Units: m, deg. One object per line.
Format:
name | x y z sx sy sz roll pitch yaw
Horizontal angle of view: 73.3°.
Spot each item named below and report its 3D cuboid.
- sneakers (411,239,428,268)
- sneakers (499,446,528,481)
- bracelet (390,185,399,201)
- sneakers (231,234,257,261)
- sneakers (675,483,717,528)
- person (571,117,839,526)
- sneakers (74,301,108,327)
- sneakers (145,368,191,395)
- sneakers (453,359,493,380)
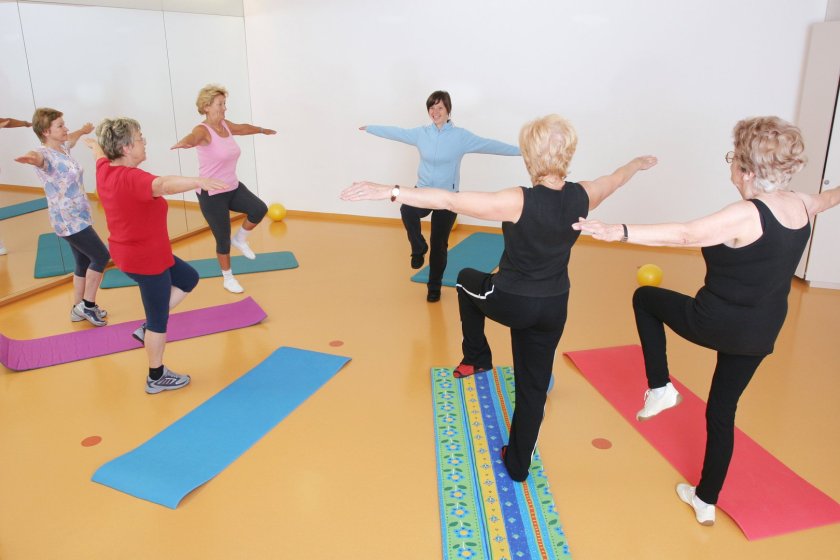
sneakers | -0.012 -0.271 6.038 0.126 0.307 0.135 20 16 20
sneakers | 0.613 1.225 3.846 0.102 0.113 0.289 -9 20 -23
bracelet | -0.164 -0.507 3.297 0.055 0.086 0.081 18 25 -11
sneakers | -2.103 -0.375 6.698 0.326 0.222 0.124 39 59 -1
sneakers | 1.742 1.412 3.612 0.113 0.125 0.302 -9 25 -6
person | 1.749 0.235 3.507 0.836 2.403 0.865 16 27 31
sneakers | -3.144 0.322 5.361 0.427 0.178 0.147 11 27 -28
sneakers | -2.012 0.781 4.603 0.406 0.204 0.154 -9 20 -27
sneakers | 0.398 0.737 4.575 0.360 0.136 0.126 -4 25 -7
